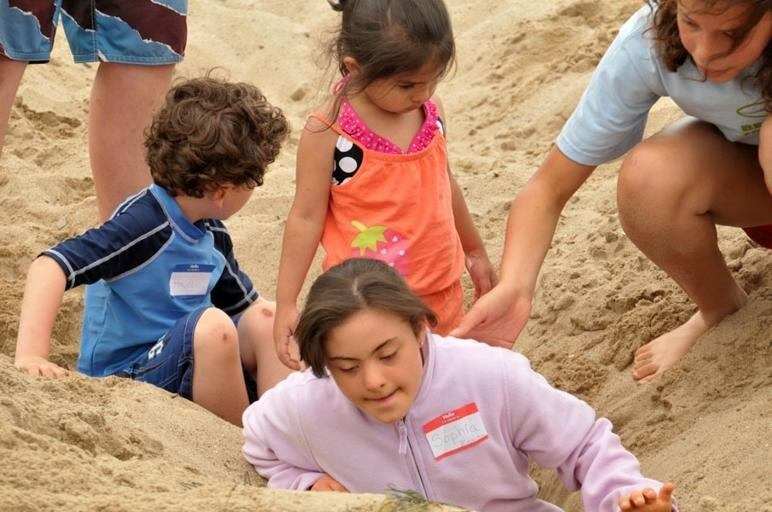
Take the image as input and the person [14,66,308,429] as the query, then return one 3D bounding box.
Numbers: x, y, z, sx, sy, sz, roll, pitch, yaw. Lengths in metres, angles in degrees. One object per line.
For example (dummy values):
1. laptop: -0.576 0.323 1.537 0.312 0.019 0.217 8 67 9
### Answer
1. person: -0.826 0.180 3.927 1.380 1.729 0.822 -1 6 -26
